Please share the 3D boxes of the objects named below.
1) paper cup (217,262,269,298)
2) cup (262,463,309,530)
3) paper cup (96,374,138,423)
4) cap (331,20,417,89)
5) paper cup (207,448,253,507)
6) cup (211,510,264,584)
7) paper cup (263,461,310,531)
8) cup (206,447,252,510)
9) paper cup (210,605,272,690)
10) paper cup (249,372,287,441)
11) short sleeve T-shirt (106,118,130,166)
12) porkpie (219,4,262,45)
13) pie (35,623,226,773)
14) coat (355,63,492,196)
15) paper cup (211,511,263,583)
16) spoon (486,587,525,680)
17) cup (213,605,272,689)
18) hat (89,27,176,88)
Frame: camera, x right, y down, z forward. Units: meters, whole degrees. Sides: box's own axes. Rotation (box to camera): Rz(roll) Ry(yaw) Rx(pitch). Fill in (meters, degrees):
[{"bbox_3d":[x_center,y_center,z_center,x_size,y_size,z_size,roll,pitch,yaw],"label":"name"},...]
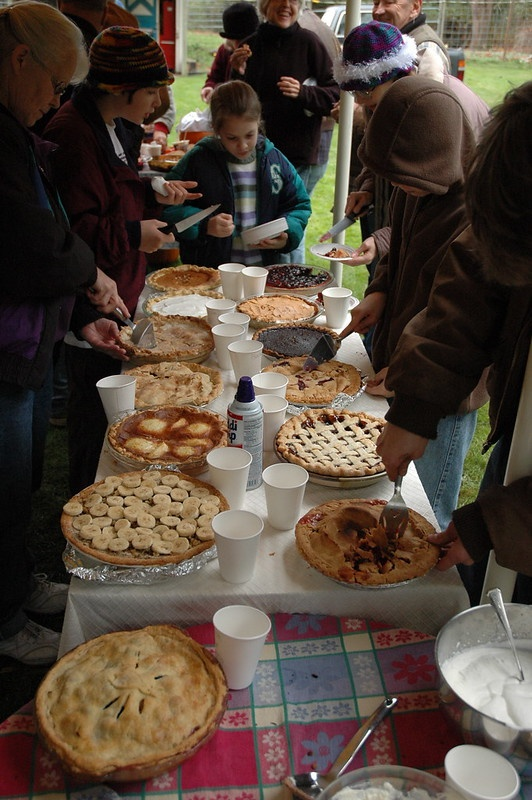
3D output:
[{"bbox_3d":[-0.130,-0.657,3.438,0.230,0.163,0.221,1,35,-1],"label":"paper cup"},{"bbox_3d":[0.023,0.270,1.766,0.176,0.173,0.172,0,23,0],"label":"cup"},{"bbox_3d":[-0.527,-0.010,2.318,0.169,0.172,0.167,0,31,0],"label":"paper cup"},{"bbox_3d":[0.587,-1.895,3.355,0.355,0.245,0.440,-11,40,13],"label":"cap"},{"bbox_3d":[-0.091,0.204,1.830,0.163,0.166,0.161,-1,25,0],"label":"paper cup"},{"bbox_3d":[-0.069,0.370,1.557,0.171,0.173,0.169,0,22,0],"label":"cup"},{"bbox_3d":[0.025,0.277,1.771,0.178,0.176,0.174,0,23,0],"label":"paper cup"},{"bbox_3d":[-0.095,0.208,1.820,0.168,0.170,0.165,0,25,0],"label":"cup"},{"bbox_3d":[-0.064,0.537,1.304,0.125,0.128,0.126,4,9,-1],"label":"paper cup"},{"bbox_3d":[0.006,0.027,2.090,0.178,0.256,0.190,0,31,0],"label":"paper cup"},{"bbox_3d":[-0.803,-1.406,3.318,0.049,0.194,0.112,-14,10,6],"label":"short sleeve T-shirt"},{"bbox_3d":[-0.264,-3.775,6.224,0.514,0.229,0.606,-12,42,3],"label":"porkpie"},{"bbox_3d":[-0.280,0.603,1.275,0.377,0.052,0.373,-8,28,-25],"label":"pie"},{"bbox_3d":[0.544,-0.961,2.127,0.382,0.294,0.504,24,42,16],"label":"coat"},{"bbox_3d":[-0.081,0.372,1.519,0.115,0.181,0.130,-8,28,-24],"label":"paper cup"},{"bbox_3d":[0.485,0.454,1.237,0.032,0.216,0.054,-15,0,9],"label":"spoon"},{"bbox_3d":[-0.059,0.538,1.309,0.171,0.125,0.167,5,7,-1],"label":"cup"},{"bbox_3d":[-0.648,-1.654,2.962,0.379,0.203,0.279,-3,60,-11],"label":"hat"}]
